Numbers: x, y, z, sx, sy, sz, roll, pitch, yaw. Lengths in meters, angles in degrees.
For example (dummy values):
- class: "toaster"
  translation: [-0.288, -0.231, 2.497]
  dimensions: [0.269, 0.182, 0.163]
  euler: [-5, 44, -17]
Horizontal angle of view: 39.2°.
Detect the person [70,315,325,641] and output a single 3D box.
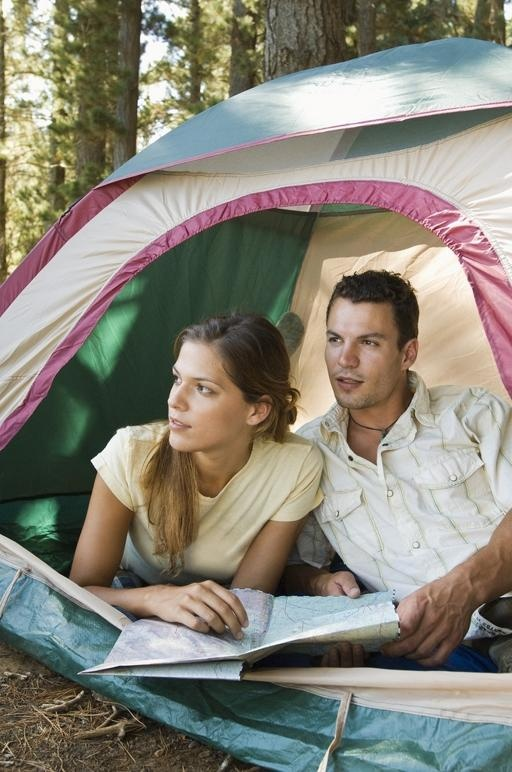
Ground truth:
- class: "person"
  translation: [-0.213, 0.310, 2.313]
  dimensions: [0.799, 0.965, 0.695]
  euler: [12, 30, -2]
